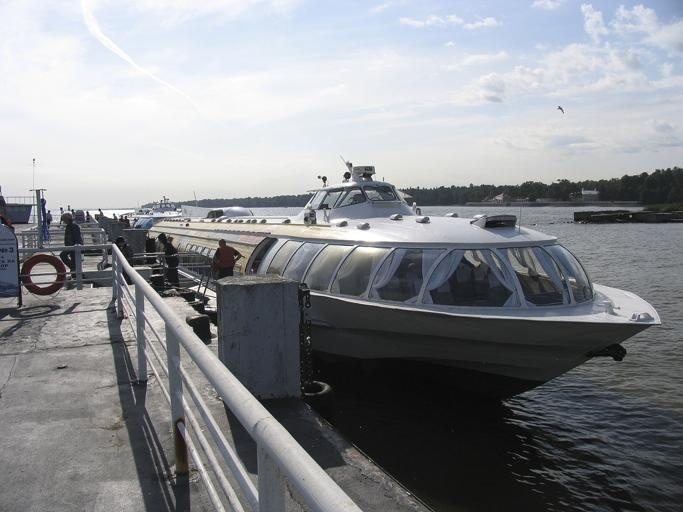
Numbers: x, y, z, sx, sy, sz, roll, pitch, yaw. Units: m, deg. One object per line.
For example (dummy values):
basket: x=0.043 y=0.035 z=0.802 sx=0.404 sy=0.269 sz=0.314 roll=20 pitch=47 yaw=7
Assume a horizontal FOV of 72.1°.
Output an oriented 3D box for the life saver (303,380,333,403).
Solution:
life saver: x=-0.409 y=2.229 z=7.787 sx=0.322 sy=0.076 sz=0.310 roll=-4 pitch=13 yaw=-34
